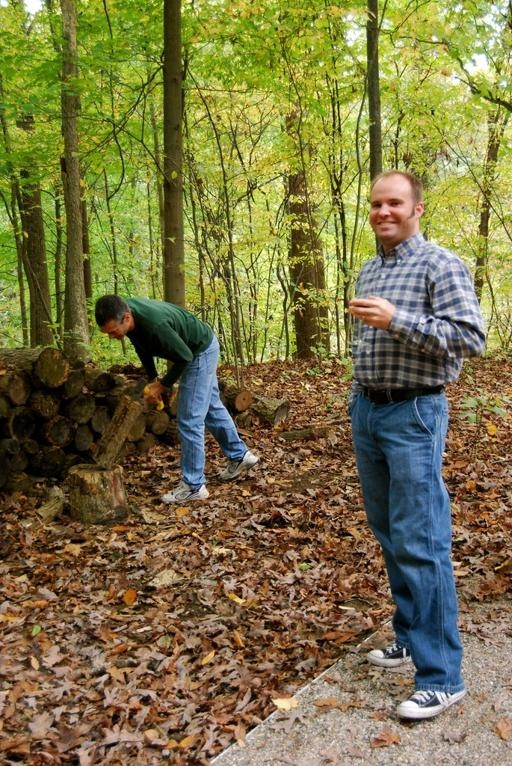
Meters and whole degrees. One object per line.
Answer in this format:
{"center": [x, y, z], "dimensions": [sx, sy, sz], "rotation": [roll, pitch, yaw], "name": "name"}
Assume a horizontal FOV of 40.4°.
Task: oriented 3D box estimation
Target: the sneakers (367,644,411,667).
{"center": [0.647, 1.303, 3.326], "dimensions": [0.202, 0.072, 0.096], "rotation": [2, -4, 3], "name": "sneakers"}

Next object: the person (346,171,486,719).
{"center": [0.660, 0.246, 3.106], "dimensions": [0.543, 2.359, 0.614], "rotation": [-4, 7, -19], "name": "person"}

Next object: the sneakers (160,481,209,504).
{"center": [-0.534, 0.870, 5.501], "dimensions": [0.465, 0.179, 0.141], "rotation": [0, -7, -5], "name": "sneakers"}

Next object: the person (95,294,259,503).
{"center": [-0.577, 0.144, 5.369], "dimensions": [0.686, 1.591, 1.422], "rotation": [2, 6, 24], "name": "person"}

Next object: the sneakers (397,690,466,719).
{"center": [0.782, 1.368, 3.027], "dimensions": [0.308, 0.103, 0.105], "rotation": [0, -13, -26], "name": "sneakers"}
